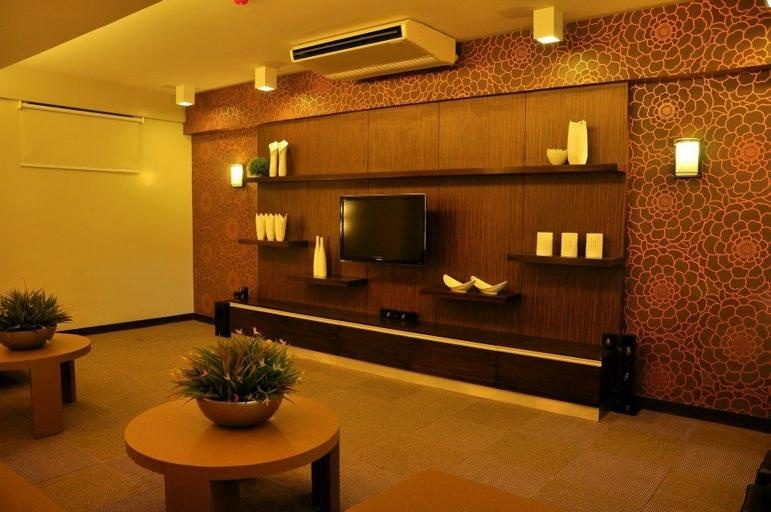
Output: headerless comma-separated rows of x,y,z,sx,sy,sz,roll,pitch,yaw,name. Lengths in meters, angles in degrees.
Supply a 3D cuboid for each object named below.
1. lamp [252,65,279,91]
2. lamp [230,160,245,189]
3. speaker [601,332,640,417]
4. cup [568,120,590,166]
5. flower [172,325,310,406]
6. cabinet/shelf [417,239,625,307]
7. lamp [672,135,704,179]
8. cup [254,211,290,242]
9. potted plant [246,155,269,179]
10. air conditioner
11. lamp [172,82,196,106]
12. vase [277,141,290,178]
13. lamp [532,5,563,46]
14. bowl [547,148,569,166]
-1.493,-2.224,6.507,0.295,0.290,0.288,0,14,-3,lamp
-2.156,-1.159,7.581,0.280,0.363,0.107,5,10,26,lamp
2.188,1.112,4.839,0.363,0.692,0.516,5,10,24,speaker
1.852,-1.086,4.970,0.213,0.408,0.184,0,9,-1,cup
-0.898,0.752,3.297,0.740,0.377,0.701,6,8,38,flower
1.343,0.157,5.242,1.931,0.841,0.453,5,10,25,cabinet/shelf
2.717,-0.877,4.672,0.214,0.340,0.125,6,11,30,lamp
-1.498,-0.385,6.905,0.413,0.289,0.126,3,4,43,cup
-1.726,-1.214,7.106,0.285,0.308,0.305,0,-6,4,potted plant
-0.124,-2.195,5.530,1.560,0.364,0.771,5,10,26,air conditioner
-2.871,-2.251,7.323,0.271,0.392,0.275,-4,-4,38,lamp
-1.353,-1.280,6.818,0.131,0.475,0.266,0,9,-5,vase
1.529,-2.113,4.900,0.336,0.352,0.261,0,0,35,lamp
1.661,-0.957,5.028,0.174,0.146,0.176,2,8,0,bowl
